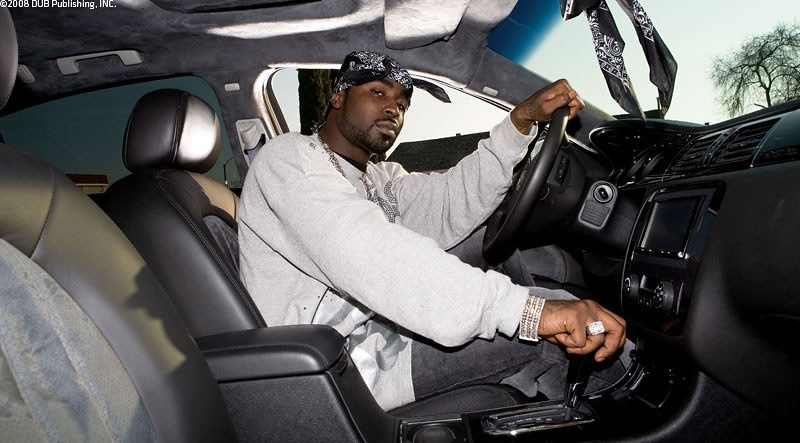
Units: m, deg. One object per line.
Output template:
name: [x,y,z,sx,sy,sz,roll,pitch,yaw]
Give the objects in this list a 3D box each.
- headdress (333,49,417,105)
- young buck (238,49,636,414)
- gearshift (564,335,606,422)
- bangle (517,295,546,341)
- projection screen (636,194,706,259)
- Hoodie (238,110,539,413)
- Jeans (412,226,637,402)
headdress: [-0.105,-0.799,2.374,0.317,0.196,0.374,-1,26,-29]
young buck: [0.006,-0.039,2.235,1.851,1.331,1.357,-2,2,-1]
gearshift: [0.680,0.613,1.730,0.108,0.253,0.064,-2,2,15]
bangle: [0.463,0.336,1.596,0.111,0.141,0.039,11,3,2]
projection screen: [1.079,0.028,1.789,0.029,0.281,0.270,28,-14,-22]
Hoodie: [-0.114,0.144,2.116,1.430,0.982,1.089,1,1,5]
Jeans: [0.438,0.416,1.802,0.679,0.305,0.739,6,44,13]
